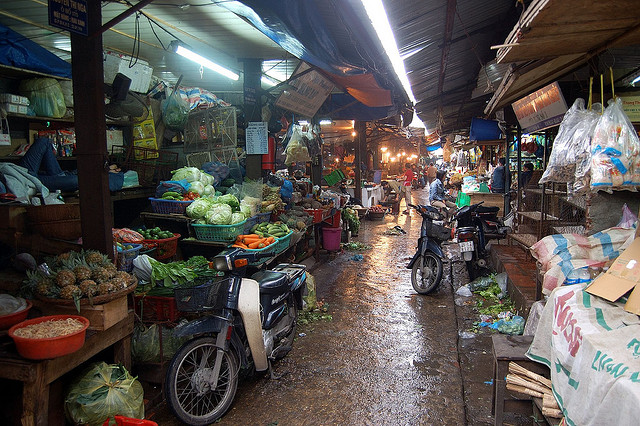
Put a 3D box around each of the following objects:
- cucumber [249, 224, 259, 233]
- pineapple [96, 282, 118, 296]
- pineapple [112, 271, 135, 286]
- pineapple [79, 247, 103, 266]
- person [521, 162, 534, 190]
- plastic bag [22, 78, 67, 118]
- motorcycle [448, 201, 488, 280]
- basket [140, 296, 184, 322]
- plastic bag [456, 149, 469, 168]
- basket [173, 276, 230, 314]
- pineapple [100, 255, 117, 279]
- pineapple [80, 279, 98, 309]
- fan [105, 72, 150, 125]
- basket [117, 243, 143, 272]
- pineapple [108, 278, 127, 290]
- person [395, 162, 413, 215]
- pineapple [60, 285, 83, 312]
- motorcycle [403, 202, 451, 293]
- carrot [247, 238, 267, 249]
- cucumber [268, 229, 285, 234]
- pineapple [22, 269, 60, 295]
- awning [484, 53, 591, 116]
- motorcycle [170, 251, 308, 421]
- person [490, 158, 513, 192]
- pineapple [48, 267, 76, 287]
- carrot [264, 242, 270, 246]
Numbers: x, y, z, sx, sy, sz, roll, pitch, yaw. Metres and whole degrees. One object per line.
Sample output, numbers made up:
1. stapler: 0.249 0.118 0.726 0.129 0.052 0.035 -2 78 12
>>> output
1. cucumber: -1.068 0.246 6.662 0.072 0.092 0.185 3 13 22
2. pineapple: -1.999 0.703 3.863 0.127 0.108 0.097 4 -13 -32
3. pineapple: -1.946 0.641 4.127 0.110 0.123 0.142 3 -13 -9
4. pineapple: -2.245 0.416 4.027 0.199 0.104 0.110 21 20 7
5. person: 5.285 -1.017 10.500 0.218 0.577 0.864 4 13 26
6. plastic bag: -4.769 -1.972 7.122 0.688 0.701 0.532 14 17 26
7. motorcycle: 2.676 0.487 7.265 0.568 1.334 0.566 0 12 6
8. basket: -1.839 1.091 4.725 0.468 0.209 0.329 -1 5 9
9. plastic bag: 7.372 -2.853 21.284 0.495 0.901 1.232 2 12 18
10. basket: -1.185 0.864 4.337 0.561 0.255 0.395 -6 -4 1
11. pineapple: -2.097 0.524 4.066 0.136 0.183 0.291 -12 15 -39
12. pineapple: -2.101 0.744 3.791 0.134 0.220 0.114 -2 5 11
13. fan: -3.694 -2.131 7.769 0.725 0.871 0.805 -3 12 -8
14. basket: -2.273 0.500 4.811 0.220 0.182 0.300 0 15 -38
15. pineapple: -1.938 0.671 3.956 0.088 0.087 0.118 -50 17 -27
16. person: 3.762 -1.107 18.271 0.748 2.228 0.859 0 -1 37
17. pineapple: -2.274 0.759 3.763 0.192 0.215 0.078 0 12 5
18. motorcycle: 1.966 0.585 7.542 0.784 1.481 1.721 2 12 15
19. carrot: -0.900 0.434 6.001 0.290 0.073 0.079 -28 51 -34
20. cucumber: -0.722 0.280 6.644 0.240 0.068 0.055 -4 16 -27
21. pineapple: -2.520 0.598 3.798 0.144 0.296 0.134 -12 14 -6
22. awning: 2.864 -1.820 6.065 0.701 0.107 2.144 -16 -5 8
23. motorcycle: -0.926 1.193 4.658 0.727 1.645 1.980 4 13 24
24. person: 4.940 -1.074 11.143 0.493 0.890 1.448 4 13 26
25. pineapple: -2.393 0.584 3.820 0.289 0.141 0.116 4 13 24
26. carrot: -0.785 0.448 6.084 0.057 0.031 0.057 -8 3 -2
